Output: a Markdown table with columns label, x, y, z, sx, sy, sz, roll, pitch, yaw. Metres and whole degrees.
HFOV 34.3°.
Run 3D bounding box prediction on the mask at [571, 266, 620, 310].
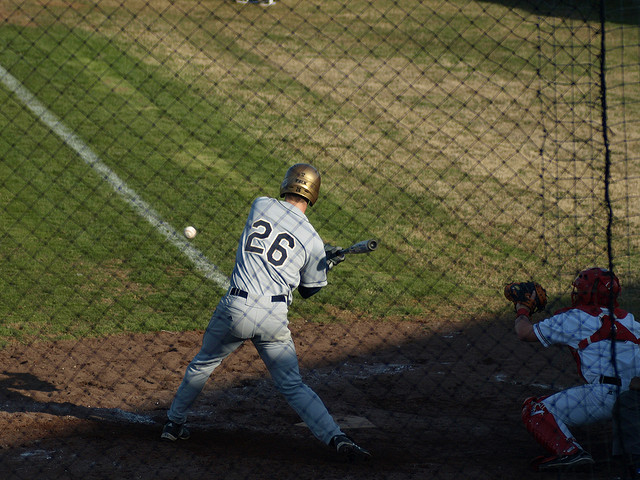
| label | x | y | z | sx | sy | sz | roll | pitch | yaw |
| --- | --- | --- | --- | --- | --- | --- | --- | --- | --- |
| mask | 3.090 | 0.534 | 11.526 | 0.456 | 0.451 | 0.619 | -5 | 4 | -45 |

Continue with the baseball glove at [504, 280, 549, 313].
| label | x | y | z | sx | sy | sz | roll | pitch | yaw |
| --- | --- | --- | --- | --- | --- | --- | --- | --- | --- |
| baseball glove | 2.255 | 0.636 | 11.582 | 0.372 | 0.190 | 0.453 | 8 | 36 | 19 |

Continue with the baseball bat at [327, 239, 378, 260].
| label | x | y | z | sx | sy | sz | roll | pitch | yaw |
| --- | --- | --- | --- | --- | --- | --- | --- | --- | --- |
| baseball bat | 0.309 | 0.128 | 11.615 | 0.181 | 0.148 | 1.188 | -15 | 3 | -28 |
